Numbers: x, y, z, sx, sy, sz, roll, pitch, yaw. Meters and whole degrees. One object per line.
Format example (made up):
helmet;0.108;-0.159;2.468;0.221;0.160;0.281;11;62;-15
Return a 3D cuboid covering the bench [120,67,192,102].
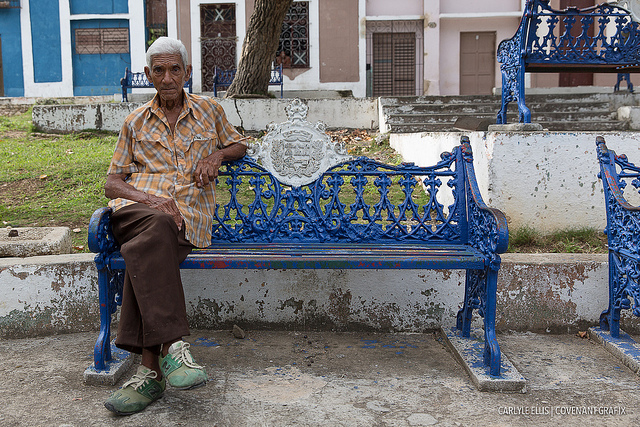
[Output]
bench;-3.953;-2.979;17.403;0.672;1.131;1.936;9;16;33

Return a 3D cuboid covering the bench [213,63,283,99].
bench;-1.736;-3.043;17.859;1.603;1.044;0.664;-3;25;-2

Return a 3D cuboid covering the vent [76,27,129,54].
vent;-6.174;-4.852;21.098;1.503;0.702;0.126;1;9;5

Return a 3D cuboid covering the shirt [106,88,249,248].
shirt;-1.439;-0.453;7.379;1.231;1.526;0.596;-1;9;-7
